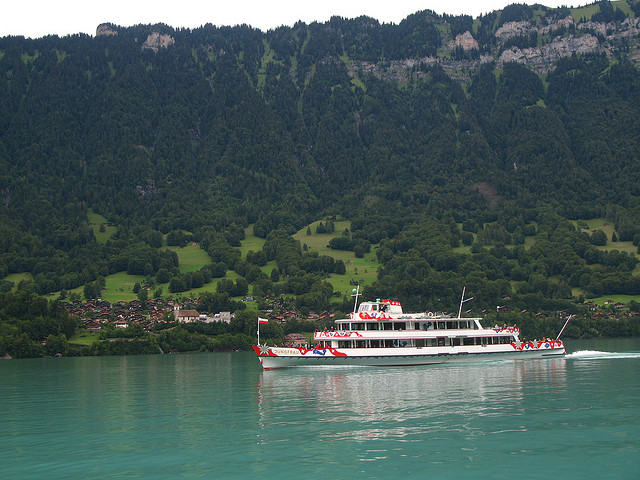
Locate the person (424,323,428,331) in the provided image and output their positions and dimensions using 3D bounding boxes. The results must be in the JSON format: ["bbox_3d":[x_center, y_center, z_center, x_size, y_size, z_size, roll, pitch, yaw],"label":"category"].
[{"bbox_3d":[35.279,29.172,349.312,1.113,2.326,0.805,-13,15,-40],"label":"person"}]

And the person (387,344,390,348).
[{"bbox_3d":[22.758,35.383,347.058,0.703,0.821,0.877,-4,12,-3],"label":"person"}]
